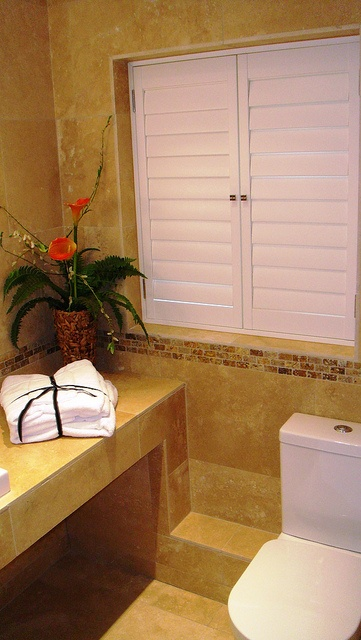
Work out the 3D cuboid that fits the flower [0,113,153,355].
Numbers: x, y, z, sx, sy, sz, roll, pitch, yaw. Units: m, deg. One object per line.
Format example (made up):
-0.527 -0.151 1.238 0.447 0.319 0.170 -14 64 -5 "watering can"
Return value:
-0.377 -0.277 1.613 0.470 0.855 0.535 -4 4 7 "flower"
